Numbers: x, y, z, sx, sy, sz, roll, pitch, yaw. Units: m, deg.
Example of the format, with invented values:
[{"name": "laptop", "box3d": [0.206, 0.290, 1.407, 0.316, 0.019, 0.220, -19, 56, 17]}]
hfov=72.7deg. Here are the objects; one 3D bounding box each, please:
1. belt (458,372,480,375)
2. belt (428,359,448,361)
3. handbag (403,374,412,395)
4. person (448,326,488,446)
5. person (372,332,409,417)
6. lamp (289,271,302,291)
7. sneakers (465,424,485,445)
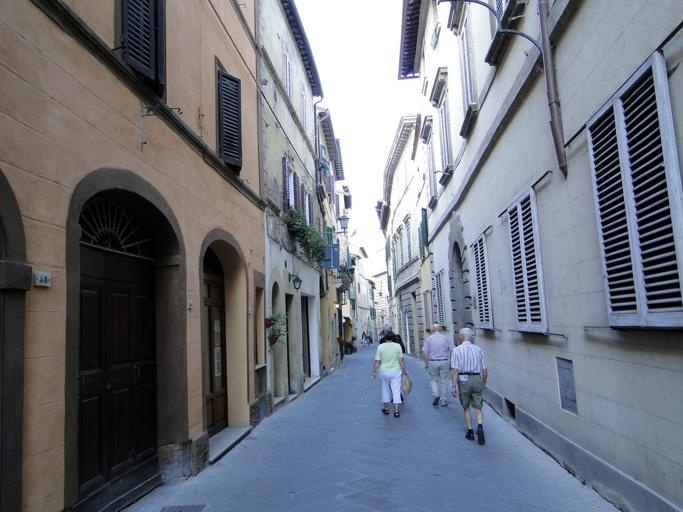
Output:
[{"name": "belt", "box3d": [2.018, 1.874, 7.436, 0.308, 0.056, 0.092, -4, -7, 4]}, {"name": "belt", "box3d": [2.149, 2.312, 10.413, 0.409, 0.080, 0.088, -5, -7, 13]}, {"name": "handbag", "box3d": [1.338, 2.691, 9.808, 0.168, 0.454, 0.631, -3, -7, 7]}, {"name": "person", "box3d": [2.040, 2.163, 7.492, 0.541, 1.519, 0.684, -4, -5, 17]}, {"name": "person", "box3d": [1.002, 2.450, 9.959, 0.596, 1.911, 0.521, 1, 12, 14]}, {"name": "lamp", "box3d": [-1.386, 0.712, 13.785, 0.325, 0.564, 0.945, -2, -7, -2]}, {"name": "sneakers", "box3d": [2.087, 2.767, 7.371, 0.246, 0.282, 0.600, -3, -7, 1]}]
